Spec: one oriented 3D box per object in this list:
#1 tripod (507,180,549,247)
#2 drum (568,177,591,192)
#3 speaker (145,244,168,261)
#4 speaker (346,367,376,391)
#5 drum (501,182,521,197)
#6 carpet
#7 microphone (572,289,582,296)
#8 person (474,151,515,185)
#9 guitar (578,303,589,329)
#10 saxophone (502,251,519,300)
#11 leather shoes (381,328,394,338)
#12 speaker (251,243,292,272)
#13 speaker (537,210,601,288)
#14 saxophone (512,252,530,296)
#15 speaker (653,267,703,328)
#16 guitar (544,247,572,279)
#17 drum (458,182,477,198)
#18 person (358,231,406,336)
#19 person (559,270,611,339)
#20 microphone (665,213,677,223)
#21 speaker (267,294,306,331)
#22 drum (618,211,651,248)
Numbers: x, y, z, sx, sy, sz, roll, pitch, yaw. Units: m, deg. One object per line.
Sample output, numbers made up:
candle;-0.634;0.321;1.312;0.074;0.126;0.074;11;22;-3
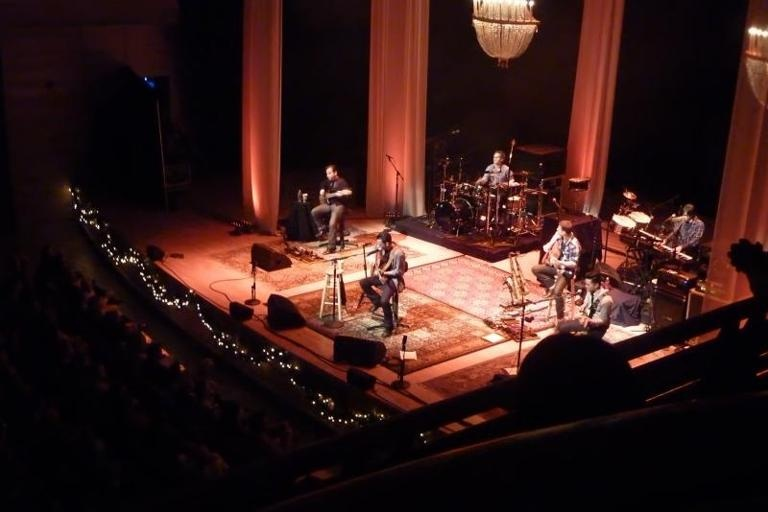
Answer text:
tripod;3.441;-1.029;13.013;1.114;1.259;1.168;-21;32;-37
drum;4.710;-1.711;12.977;0.488;0.328;0.678;9;15;37
speaker;-4.754;-0.101;11.321;0.322;0.340;0.342;2;36;-50
speaker;-0.315;1.738;7.716;0.251;0.226;0.462;-11;24;-40
drum;2.982;-1.606;12.711;0.358;0.172;0.481;-5;15;-11
carpet;0.896;1.154;9.577;3.783;0.015;4.179;-18;32;-40
microphone;3.616;0.678;10.029;0.190;0.083;0.273;1;12;8
person;2.646;-1.954;12.752;0.859;1.019;0.657;1;9;-5
guitar;3.274;0.976;8.828;0.149;0.498;0.191;21;45;37
saxophone;2.281;0.343;10.034;0.312;1.128;0.414;4;26;12
leather shoes;0.081;1.275;9.172;0.252;0.145;0.157;-4;-6;-17
speaker;-2.451;0.108;11.407;0.579;0.509;0.745;-12;21;-33
speaker;4.238;-0.243;11.947;1.391;1.384;1.430;22;37;40
saxophone;2.703;0.361;10.630;0.211;0.811;0.134;-10;-8;-3
speaker;5.060;0.672;9.290;0.466;0.963;0.825;-1;-8;-34
guitar;3.269;0.127;10.006;0.214;0.332;0.530;-40;32;-3
drum;2.002;-1.572;12.915;0.386;0.235;0.379;17;20;-6
person;-0.004;0.381;9.379;0.753;1.604;0.963;-12;26;-17
person;3.205;0.878;8.679;0.857;1.252;0.653;3;15;7
microphone;6.059;-0.818;11.420;0.088;0.094;0.302;-8;-12;-34
speaker;-1.645;0.956;9.154;0.562;0.484;0.671;-5;24;-14
drum;5.352;-0.548;11.283;0.596;0.413;0.903;-6;28;-10
